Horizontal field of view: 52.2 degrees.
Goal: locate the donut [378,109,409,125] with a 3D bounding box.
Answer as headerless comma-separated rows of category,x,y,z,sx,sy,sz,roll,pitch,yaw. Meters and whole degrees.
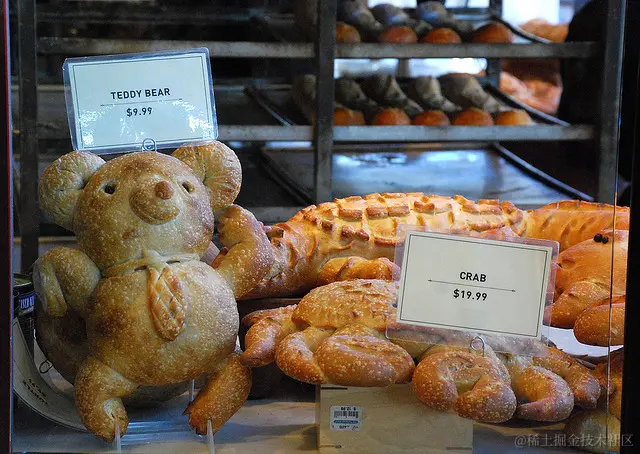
donut,0.241,-0.361,2.132,0.060,0.059,0.060,-14,28,-37

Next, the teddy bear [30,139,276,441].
teddy bear,-0.301,0.111,1.184,0.418,0.546,0.267,-4,-10,-17

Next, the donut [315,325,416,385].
donut,0.073,0.213,1.077,0.160,0.068,0.080,0,22,8

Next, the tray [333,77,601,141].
tray,0.486,-0.378,2.129,0.767,0.154,0.531,5,24,21

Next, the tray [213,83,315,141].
tray,-0.221,-0.383,2.221,0.270,0.069,0.313,-4,24,-11

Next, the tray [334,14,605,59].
tray,0.456,-0.554,1.933,0.783,0.121,0.402,11,27,32

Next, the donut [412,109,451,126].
donut,0.375,-0.367,2.175,0.131,0.051,0.083,-13,24,-21
